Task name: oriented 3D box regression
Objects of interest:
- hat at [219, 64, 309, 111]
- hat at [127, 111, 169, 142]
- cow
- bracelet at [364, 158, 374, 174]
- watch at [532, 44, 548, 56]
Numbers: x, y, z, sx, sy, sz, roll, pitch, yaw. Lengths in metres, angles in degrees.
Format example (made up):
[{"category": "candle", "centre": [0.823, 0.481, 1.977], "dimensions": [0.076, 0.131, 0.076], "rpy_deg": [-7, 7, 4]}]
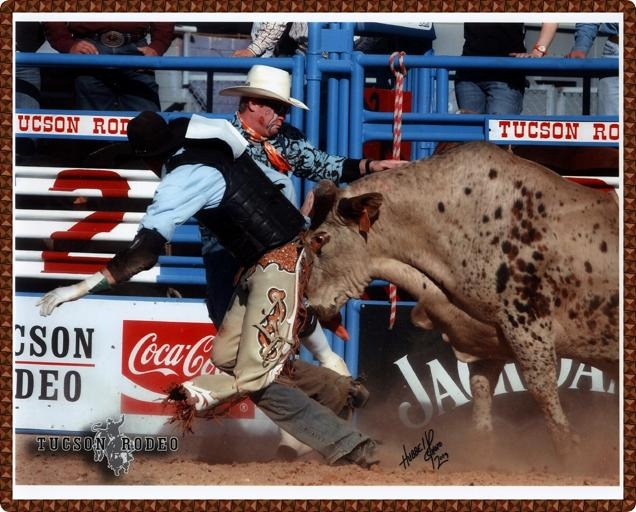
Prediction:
[{"category": "hat", "centre": [-0.321, -1.144, 8.708], "dimensions": [0.604, 0.236, 0.510], "rpy_deg": [10, 6, 26]}, {"category": "hat", "centre": [-1.066, -0.807, 8.067], "dimensions": [0.212, 0.161, 0.189], "rpy_deg": [7, 30, 19]}, {"category": "cow", "centre": [1.416, 0.484, 8.956], "dimensions": [3.096, 2.295, 1.020], "rpy_deg": [0, -6, -18]}, {"category": "bracelet", "centre": [0.357, -0.613, 8.921], "dimensions": [0.080, 0.078, 0.024], "rpy_deg": [-1, -9, 25]}, {"category": "watch", "centre": [1.679, -1.539, 9.732], "dimensions": [0.099, 0.049, 0.090], "rpy_deg": [0, -24, 30]}]
